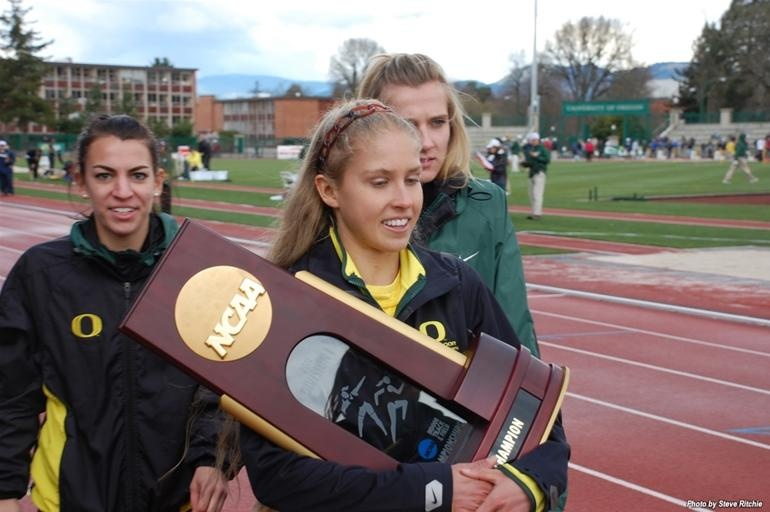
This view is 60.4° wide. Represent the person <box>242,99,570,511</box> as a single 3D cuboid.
[{"bbox_3d":[0.101,0.155,2.547,1.229,1.477,0.794,1,12,3],"label":"person"}]
